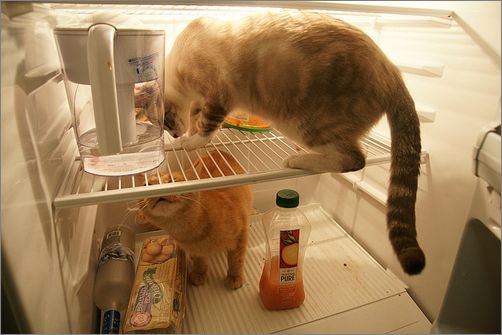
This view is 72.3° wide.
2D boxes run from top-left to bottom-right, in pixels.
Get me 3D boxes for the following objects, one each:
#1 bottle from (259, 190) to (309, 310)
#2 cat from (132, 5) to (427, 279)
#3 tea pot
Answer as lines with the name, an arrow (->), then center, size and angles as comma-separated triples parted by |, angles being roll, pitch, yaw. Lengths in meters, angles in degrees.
bottle -> 0.114, 0.278, 1.171 | 0.162, 0.393, 0.139 | 0, 14, -8
cat -> 0.123, -0.110, 1.109 | 0.825, 0.420, 0.637 | 17, 42, 1
tea pot -> -0.284, -0.187, 0.856 | 0.257, 0.370, 0.364 | -4, 25, -8
